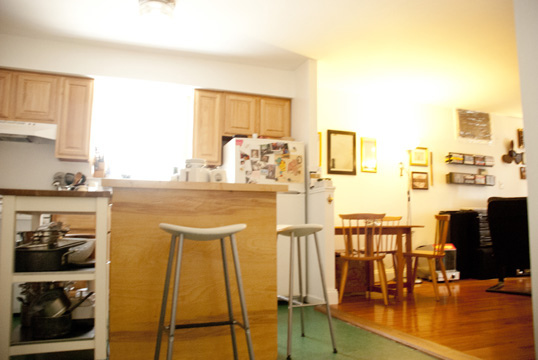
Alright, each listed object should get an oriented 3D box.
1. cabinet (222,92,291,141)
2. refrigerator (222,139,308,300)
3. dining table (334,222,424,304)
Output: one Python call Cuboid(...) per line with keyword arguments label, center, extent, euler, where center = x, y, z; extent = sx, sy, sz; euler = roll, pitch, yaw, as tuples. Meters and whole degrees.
Cuboid(label="cabinet", center=(-0.224, -0.907, 5.943), extent=(1.258, 0.615, 0.565), euler=(3, 0, -32))
Cuboid(label="refrigerator", center=(0.357, 0.381, 6.123), extent=(1.494, 2.013, 1.389), euler=(-7, 12, -41))
Cuboid(label="dining table", center=(1.646, 1.004, 5.823), extent=(1.355, 0.934, 1.446), euler=(2, -7, -6))
